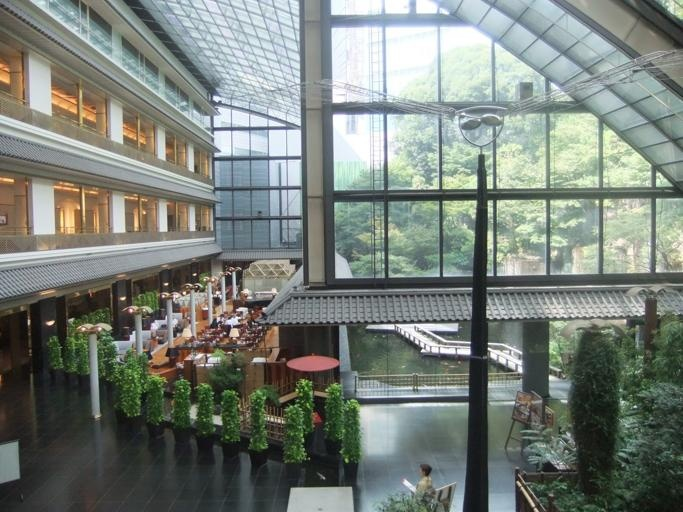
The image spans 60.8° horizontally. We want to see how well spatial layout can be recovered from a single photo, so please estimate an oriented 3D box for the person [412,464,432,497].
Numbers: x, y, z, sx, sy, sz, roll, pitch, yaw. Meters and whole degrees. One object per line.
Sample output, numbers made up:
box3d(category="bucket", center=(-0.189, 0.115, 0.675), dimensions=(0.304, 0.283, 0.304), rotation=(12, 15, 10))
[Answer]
box3d(category="person", center=(2.265, 6.051, 15.984), dimensions=(0.453, 0.820, 0.971), rotation=(-1, 0, 7))
